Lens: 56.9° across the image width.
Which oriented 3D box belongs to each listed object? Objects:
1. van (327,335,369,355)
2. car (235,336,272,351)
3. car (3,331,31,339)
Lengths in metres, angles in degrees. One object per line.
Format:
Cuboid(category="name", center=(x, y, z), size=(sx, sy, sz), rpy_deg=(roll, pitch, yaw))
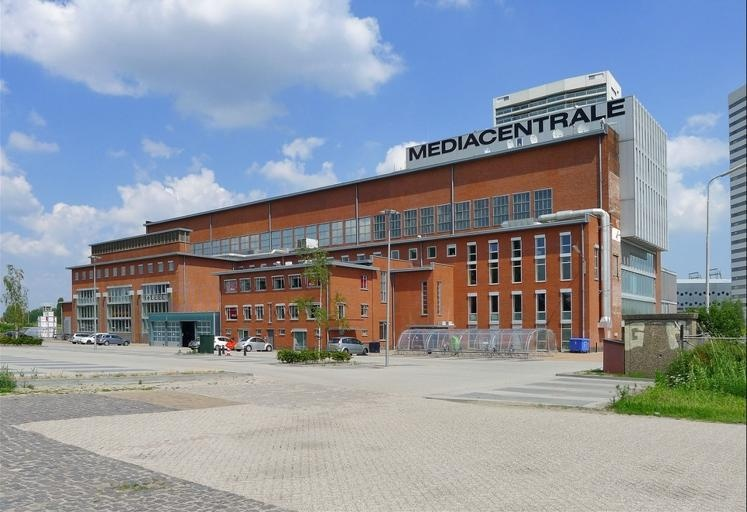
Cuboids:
Cuboid(category="van", center=(-1.891, 7.538, 56.160), size=(2.875, 1.291, 1.650), rpy_deg=(-2, 2, -36))
Cuboid(category="car", center=(-10.351, 7.817, 60.662), size=(2.565, 1.074, 1.370), rpy_deg=(1, -3, -34))
Cuboid(category="car", center=(-40.504, 8.989, 78.354), size=(2.927, 1.087, 2.248), rpy_deg=(-2, -7, 29))
